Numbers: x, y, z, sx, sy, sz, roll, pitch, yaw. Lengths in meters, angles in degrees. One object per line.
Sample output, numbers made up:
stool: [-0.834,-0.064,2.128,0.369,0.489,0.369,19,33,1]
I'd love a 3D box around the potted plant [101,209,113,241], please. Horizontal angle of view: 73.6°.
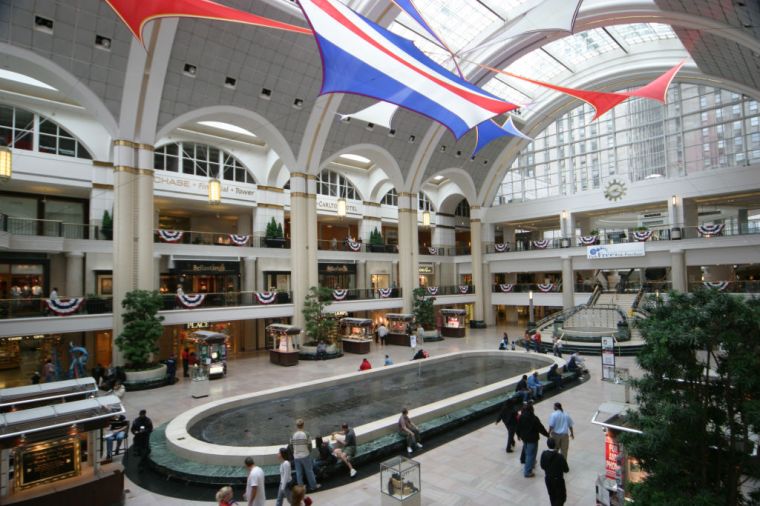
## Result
potted plant: [-15.710,-1.618,29.179,0.527,1.818,0.954,-2,-4,-28]

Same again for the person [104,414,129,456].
person: [-9.125,6.394,17.597,0.749,1.327,1.671,-2,-4,-26]

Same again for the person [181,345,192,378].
person: [-10.038,5.746,26.294,0.339,1.310,1.530,-3,-4,-21]

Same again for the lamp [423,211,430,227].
lamp: [3.770,-2.886,42.019,0.466,1.087,0.771,-4,-4,-2]

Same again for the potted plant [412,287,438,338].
potted plant: [3.175,4.132,36.954,1.612,3.198,2.889,-4,-4,3]

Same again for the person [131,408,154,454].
person: [-8.054,6.087,17.179,0.550,1.606,0.771,-2,-4,-25]

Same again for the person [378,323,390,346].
person: [0.209,5.625,34.713,0.673,1.324,1.612,-4,-4,0]

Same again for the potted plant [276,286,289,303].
potted plant: [-6.028,2.741,31.297,0.710,0.659,0.698,1,-3,-7]

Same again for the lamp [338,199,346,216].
lamp: [-2.600,-3.062,34.059,0.426,1.061,0.349,-1,-5,-40]

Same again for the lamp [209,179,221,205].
lamp: [-8.494,-3.157,26.072,0.519,1.230,0.386,-2,-4,-28]

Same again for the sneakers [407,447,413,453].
sneakers: [0.995,6.690,17.286,0.204,0.158,0.199,-3,-4,-1]

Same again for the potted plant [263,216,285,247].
potted plant: [-7.344,-1.442,35.104,1.324,2.191,1.823,-3,-4,-10]

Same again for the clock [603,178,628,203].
clock: [17.307,-4.509,37.447,0.186,1.951,1.776,3,8,-42]

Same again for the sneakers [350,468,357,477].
sneakers: [-0.865,6.962,16.113,0.230,0.169,0.088,-20,17,27]

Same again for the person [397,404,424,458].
person: [1.006,6.087,17.458,0.773,1.498,0.526,-4,-4,1]

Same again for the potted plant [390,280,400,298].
potted plant: [1.012,2.819,38.243,0.907,1.547,0.879,1,1,12]

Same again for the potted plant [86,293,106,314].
potted plant: [-13.906,2.555,25.071,0.766,0.804,1.216,-4,-5,31]

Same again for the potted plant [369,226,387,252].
potted plant: [-0.153,-0.910,40.985,1.716,2.376,1.723,-5,-4,20]
